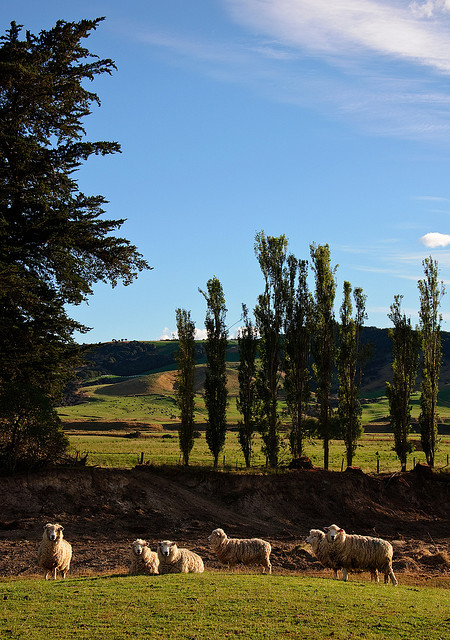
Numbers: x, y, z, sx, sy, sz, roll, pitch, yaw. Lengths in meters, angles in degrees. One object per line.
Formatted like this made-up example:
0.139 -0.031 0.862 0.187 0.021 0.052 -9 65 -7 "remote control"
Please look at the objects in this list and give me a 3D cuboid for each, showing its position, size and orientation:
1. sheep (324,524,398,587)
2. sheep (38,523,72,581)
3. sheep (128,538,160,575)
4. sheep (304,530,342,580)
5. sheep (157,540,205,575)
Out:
4.302 7.203 32.134 2.570 1.965 1.235 7 -24 -2 "sheep"
-4.797 6.525 29.862 0.655 1.563 1.006 -2 -2 25 "sheep"
-2.194 6.531 29.186 0.875 0.947 0.721 0 -2 -25 "sheep"
2.941 7.288 32.455 0.717 1.417 1.729 -7 -22 33 "sheep"
-1.211 6.594 29.435 1.287 0.988 0.993 0 -2 -18 "sheep"
